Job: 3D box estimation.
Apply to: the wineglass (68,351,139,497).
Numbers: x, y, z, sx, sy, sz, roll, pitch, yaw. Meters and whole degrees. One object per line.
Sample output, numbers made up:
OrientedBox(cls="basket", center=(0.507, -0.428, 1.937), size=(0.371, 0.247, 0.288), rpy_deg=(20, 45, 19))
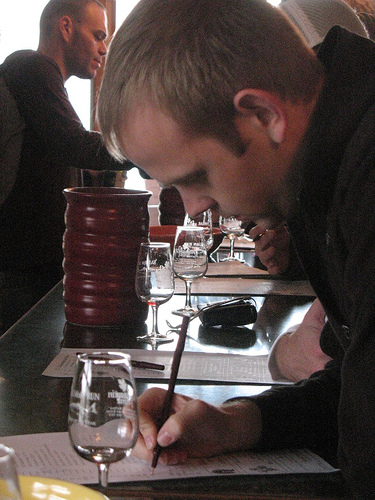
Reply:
OrientedBox(cls="wineglass", center=(-0.082, 0.184, 0.532), size=(0.078, 0.137, 0.075), rpy_deg=(2, 5, -7))

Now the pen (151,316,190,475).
OrientedBox(cls="pen", center=(-0.015, 0.181, 0.693), size=(0.023, 0.019, 0.262), rpy_deg=(8, 55, 14))

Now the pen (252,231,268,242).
OrientedBox(cls="pen", center=(0.274, -0.050, 1.825), size=(0.037, 0.009, 0.034), rpy_deg=(-31, 0, -39))

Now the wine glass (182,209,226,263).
OrientedBox(cls="wine glass", center=(0.077, -0.074, 2.034), size=(0.220, 0.163, 0.233), rpy_deg=(0, 3, 0))
